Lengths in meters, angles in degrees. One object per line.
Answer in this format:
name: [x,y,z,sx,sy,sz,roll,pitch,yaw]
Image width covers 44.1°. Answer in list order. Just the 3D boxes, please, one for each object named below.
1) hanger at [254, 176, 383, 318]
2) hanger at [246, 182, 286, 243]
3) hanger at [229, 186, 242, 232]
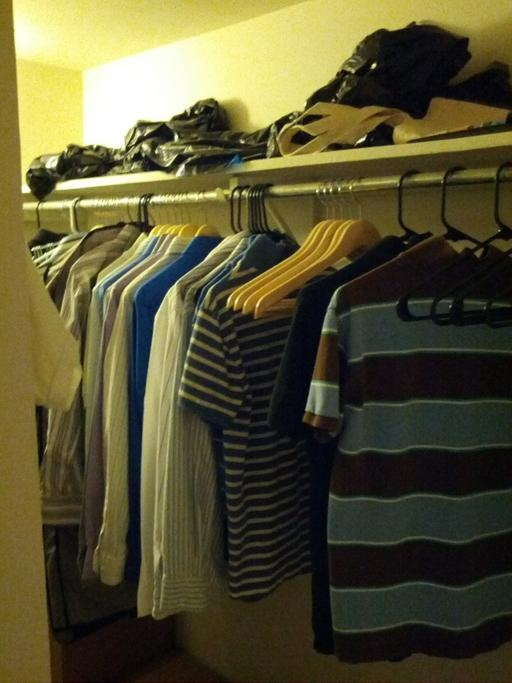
hanger: [0.097,-0.121,1.001,0.095,0.136,0.293,6,12,34]
hanger: [0.017,-0.256,1.249,0.025,0.116,0.081,12,14,40]
hanger: [-0.047,-0.294,1.397,0.023,0.150,0.064,-2,3,-5]
